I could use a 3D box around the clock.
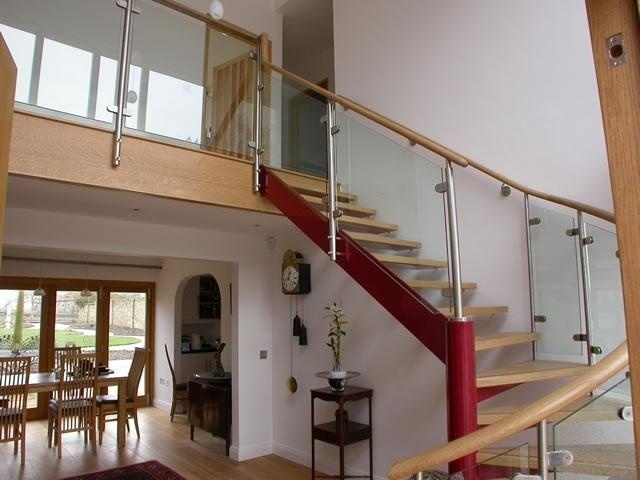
[{"bbox_3d":[-0.314,1.028,6.166,0.248,1.799,0.467,3,-7,-31],"label":"clock"}]

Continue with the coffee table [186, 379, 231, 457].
[{"bbox_3d":[-1.488,2.379,6.604,0.386,0.685,0.783,6,-11,-29],"label":"coffee table"}]

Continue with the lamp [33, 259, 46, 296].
[{"bbox_3d":[-4.696,0.638,8.274,0.162,0.651,0.586,3,-7,-30],"label":"lamp"}]

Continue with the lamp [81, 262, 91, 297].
[{"bbox_3d":[-4.130,0.692,8.703,0.174,0.620,0.618,2,-7,-25],"label":"lamp"}]

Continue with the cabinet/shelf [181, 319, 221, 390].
[{"bbox_3d":[-2.101,1.994,8.528,0.316,0.987,0.977,-2,-6,35],"label":"cabinet/shelf"}]

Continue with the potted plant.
[{"bbox_3d":[0.188,1.150,5.304,0.454,0.903,0.482,-3,-9,17],"label":"potted plant"}]
